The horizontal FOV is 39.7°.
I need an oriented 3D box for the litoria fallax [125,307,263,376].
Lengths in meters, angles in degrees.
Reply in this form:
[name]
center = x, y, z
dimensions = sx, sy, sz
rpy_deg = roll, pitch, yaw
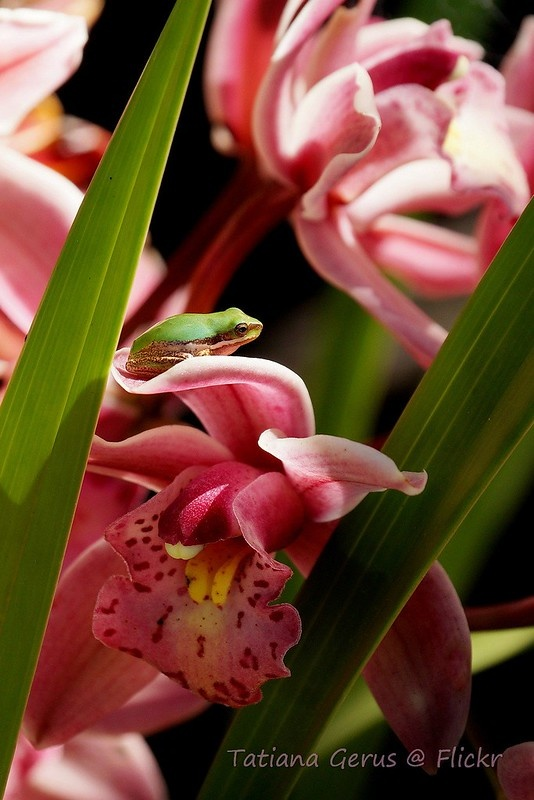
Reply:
[litoria fallax]
center = -0.064, -0.061, 0.662
dimensions = 0.092, 0.032, 0.065
rpy_deg = -7, 23, -19
